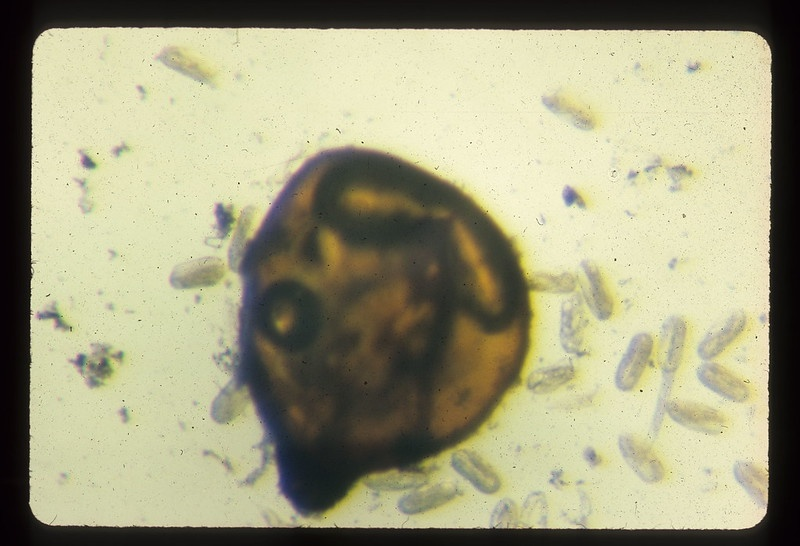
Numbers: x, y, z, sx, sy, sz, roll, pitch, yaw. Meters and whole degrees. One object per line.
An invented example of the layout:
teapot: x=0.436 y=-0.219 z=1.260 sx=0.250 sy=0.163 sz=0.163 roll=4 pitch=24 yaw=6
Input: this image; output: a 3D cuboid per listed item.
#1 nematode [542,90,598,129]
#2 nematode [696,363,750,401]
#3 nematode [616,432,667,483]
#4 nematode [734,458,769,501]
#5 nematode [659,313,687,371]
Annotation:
nematode: x=0.660 y=-0.637 z=3.930 sx=0.236 sy=0.009 sz=0.086 roll=28 pitch=85 yaw=1
nematode: x=1.265 y=0.423 z=3.949 sx=0.223 sy=0.016 sz=0.097 roll=30 pitch=85 yaw=2
nematode: x=0.944 y=0.717 z=3.945 sx=0.114 sy=0.015 sz=0.231 roll=-38 pitch=87 yaw=-4
nematode: x=1.383 y=0.800 z=3.952 sx=0.184 sy=0.018 sz=0.112 roll=40 pitch=85 yaw=2
nematode: x=1.071 y=0.272 z=3.945 sx=0.099 sy=0.028 sz=0.212 roll=-1 pitch=85 yaw=-1
